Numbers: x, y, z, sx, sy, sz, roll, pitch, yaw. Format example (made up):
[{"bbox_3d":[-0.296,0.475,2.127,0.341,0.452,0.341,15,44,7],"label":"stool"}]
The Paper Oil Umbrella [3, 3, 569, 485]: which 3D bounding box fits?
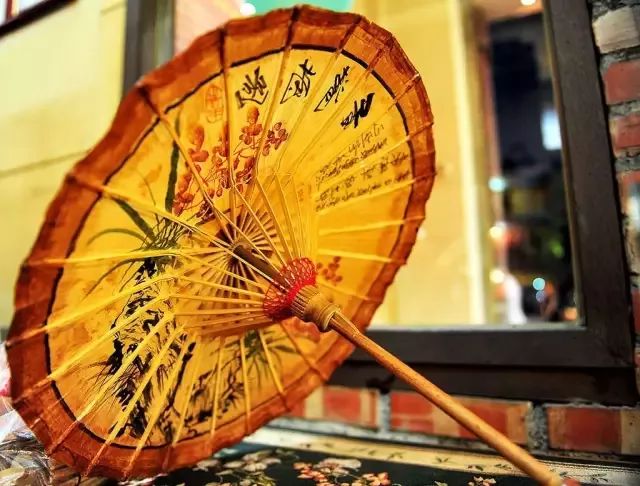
[{"bbox_3d":[-0.212,0.012,1.704,1.044,1.119,1.074,18,-77,48],"label":"Paper Oil Umbrella"}]
